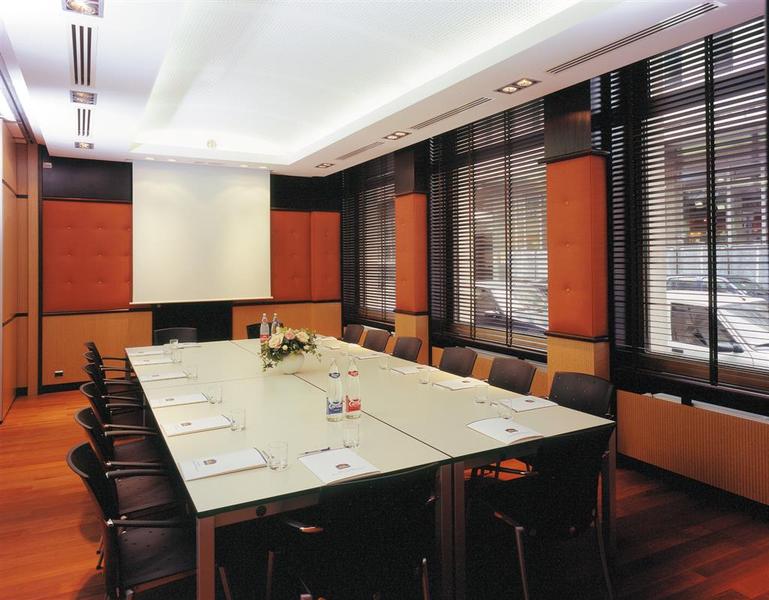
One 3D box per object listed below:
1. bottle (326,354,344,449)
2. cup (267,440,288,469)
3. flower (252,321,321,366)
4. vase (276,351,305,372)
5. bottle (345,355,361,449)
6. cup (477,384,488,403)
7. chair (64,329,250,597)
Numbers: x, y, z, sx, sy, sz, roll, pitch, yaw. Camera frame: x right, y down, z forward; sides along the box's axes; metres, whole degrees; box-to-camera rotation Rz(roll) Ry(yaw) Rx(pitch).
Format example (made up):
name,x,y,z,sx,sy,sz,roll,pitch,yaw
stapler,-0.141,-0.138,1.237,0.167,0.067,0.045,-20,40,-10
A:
name,x,y,z,sx,sy,sz,roll,pitch,yaw
bottle,-0.282,0.579,3.095,0.089,0.458,0.255,0,4,-4
cup,-0.545,0.804,2.853,0.108,0.123,0.132,0,0,-36
flower,-0.874,0.346,4.637,0.417,0.265,0.412,1,-1,-43
vase,-0.783,0.511,4.590,0.199,0.124,0.188,1,-3,-19
bottle,-0.184,0.565,3.057,0.084,0.491,0.146,0,4,-6
cup,0.696,0.674,3.877,0.078,0.112,0.075,-1,3,0
chair,-1.459,1.039,3.493,0.546,0.789,1.356,-11,19,-21
